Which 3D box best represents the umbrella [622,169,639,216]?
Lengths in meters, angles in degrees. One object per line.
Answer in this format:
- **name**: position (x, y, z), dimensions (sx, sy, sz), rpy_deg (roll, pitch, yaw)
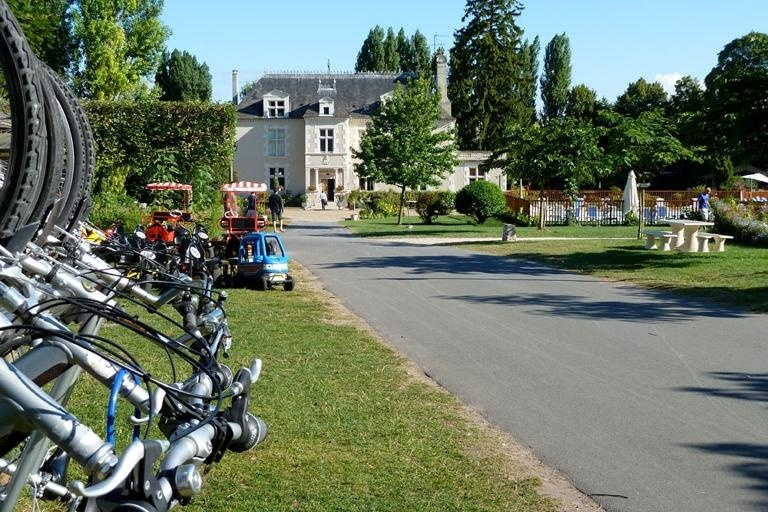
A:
- **umbrella**: position (15.649, -4.052, 40.777), dimensions (0.973, 2.811, 2.451), rpy_deg (3, 8, 21)
